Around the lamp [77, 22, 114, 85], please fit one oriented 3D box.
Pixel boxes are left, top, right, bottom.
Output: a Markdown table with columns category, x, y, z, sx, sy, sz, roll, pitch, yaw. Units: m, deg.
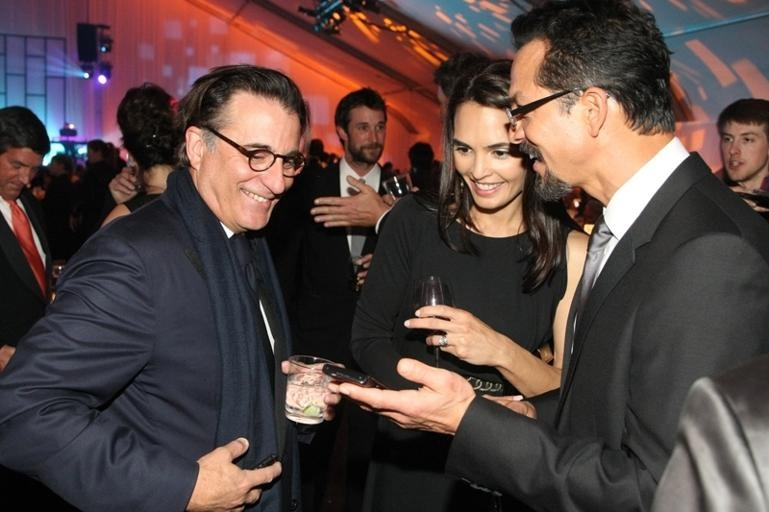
| category | x | y | z | sx | sy | sz | roll | pitch | yaw |
| --- | --- | --- | --- | --- | --- | --- | --- | --- | --- |
| lamp | -5.578 | -3.780 | 11.099 | 0.751 | 0.923 | 0.288 | 2 | 3 | -17 |

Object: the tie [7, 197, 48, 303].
| category | x | y | z | sx | sy | sz | roll | pitch | yaw |
| --- | --- | --- | --- | --- | --- | --- | --- | --- | --- |
| tie | -2.344 | -0.098 | 3.759 | 0.138 | 0.068 | 0.919 | -9 | 55 | -39 |

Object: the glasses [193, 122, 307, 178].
| category | x | y | z | sx | sy | sz | roll | pitch | yaw |
| --- | --- | --- | --- | --- | --- | --- | --- | --- | --- |
| glasses | -0.479 | -0.430 | 2.183 | 0.227 | 0.069 | 0.223 | 31 | 13 | 29 |

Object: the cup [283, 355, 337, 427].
| category | x | y | z | sx | sy | sz | roll | pitch | yaw |
| --- | --- | --- | --- | --- | --- | --- | --- | --- | --- |
| cup | -0.272 | 0.501 | 2.202 | 0.238 | 0.247 | 0.238 | 5 | -3 | 0 |
